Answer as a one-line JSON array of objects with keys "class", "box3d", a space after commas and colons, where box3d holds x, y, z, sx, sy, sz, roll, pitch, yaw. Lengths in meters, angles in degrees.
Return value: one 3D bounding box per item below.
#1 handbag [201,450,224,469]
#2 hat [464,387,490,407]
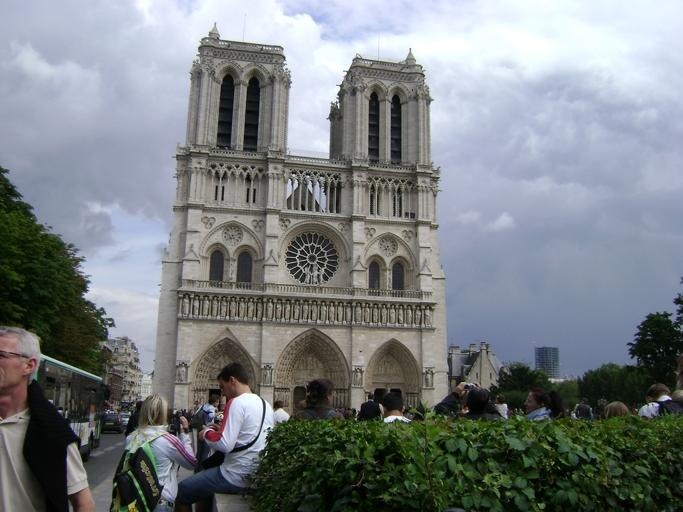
[{"class": "handbag", "box3d": [-1.615, 2.643, 9.096, 0.399, 0.263, 0.091, -15, -44, 30]}, {"class": "hat", "box3d": [1.865, 1.962, 9.656, 0.292, 0.324, 0.401, -4, -5, 9]}]
